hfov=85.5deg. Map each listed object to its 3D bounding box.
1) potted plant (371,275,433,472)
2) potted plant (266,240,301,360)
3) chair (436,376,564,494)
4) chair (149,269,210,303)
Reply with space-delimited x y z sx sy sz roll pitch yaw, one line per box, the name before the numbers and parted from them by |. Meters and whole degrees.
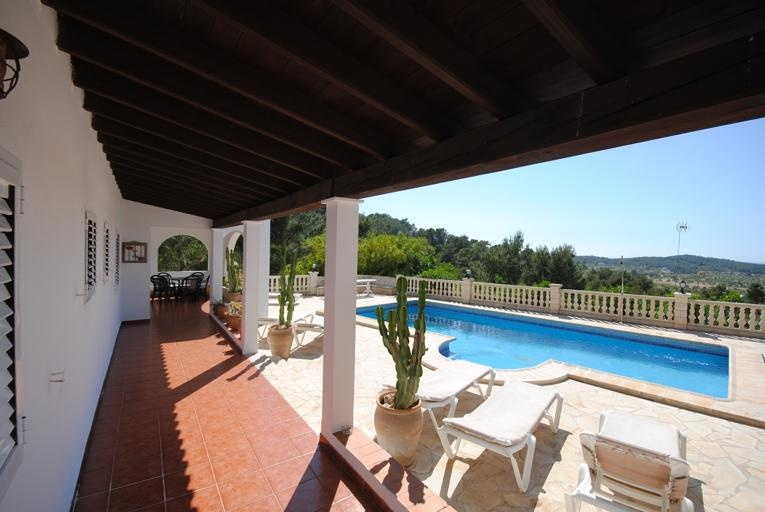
potted plant | 0.203 1.303 4.790 0.580 2.138 0.670 1 -1 13
potted plant | -1.944 0.900 8.035 0.491 1.466 1.143 2 -2 -12
chair | 1.378 2.058 4.838 0.953 0.864 1.373 0 -2 37
chair | -6.949 1.031 14.081 1.530 0.871 1.075 2 -2 -12
